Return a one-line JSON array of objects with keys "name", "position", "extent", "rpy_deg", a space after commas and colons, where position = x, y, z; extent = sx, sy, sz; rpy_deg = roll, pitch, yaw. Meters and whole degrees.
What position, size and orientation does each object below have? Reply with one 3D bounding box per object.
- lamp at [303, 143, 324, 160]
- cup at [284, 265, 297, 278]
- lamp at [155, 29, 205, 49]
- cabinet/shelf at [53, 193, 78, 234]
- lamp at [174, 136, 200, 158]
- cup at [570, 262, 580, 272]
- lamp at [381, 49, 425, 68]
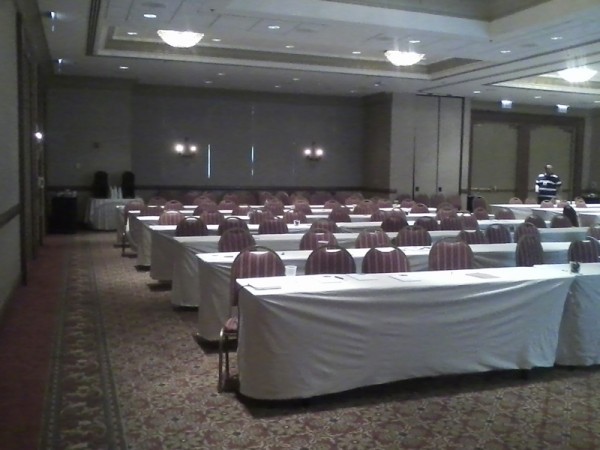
[{"name": "lamp", "position": [0.414, -2.485, 15.149], "extent": [0.522, 0.569, 0.166], "rpy_deg": [-1, 2, -19]}, {"name": "cup", "position": [-0.077, 0.406, 3.995], "extent": [0.092, 0.081, 0.101], "rpy_deg": [1, -1, 0]}, {"name": "lamp", "position": [-2.245, -3.478, 8.406], "extent": [0.774, 0.250, 0.398], "rpy_deg": [2, 7, 14]}, {"name": "cabinet/shelf", "position": [-6.150, -0.272, 11.753], "extent": [0.584, 0.958, 0.230], "rpy_deg": [-3, 8, -27]}, {"name": "lamp", "position": [-3.547, -2.331, 14.126], "extent": [0.809, 0.963, 0.481], "rpy_deg": [-1, 7, -20]}, {"name": "cup", "position": [2.470, 0.375, 4.054], "extent": [0.067, 0.091, 0.085], "rpy_deg": [0, -2, -19]}, {"name": "lamp", "position": [2.037, -3.425, 9.363], "extent": [0.543, 0.227, 0.629], "rpy_deg": [-2, 8, -20]}]
